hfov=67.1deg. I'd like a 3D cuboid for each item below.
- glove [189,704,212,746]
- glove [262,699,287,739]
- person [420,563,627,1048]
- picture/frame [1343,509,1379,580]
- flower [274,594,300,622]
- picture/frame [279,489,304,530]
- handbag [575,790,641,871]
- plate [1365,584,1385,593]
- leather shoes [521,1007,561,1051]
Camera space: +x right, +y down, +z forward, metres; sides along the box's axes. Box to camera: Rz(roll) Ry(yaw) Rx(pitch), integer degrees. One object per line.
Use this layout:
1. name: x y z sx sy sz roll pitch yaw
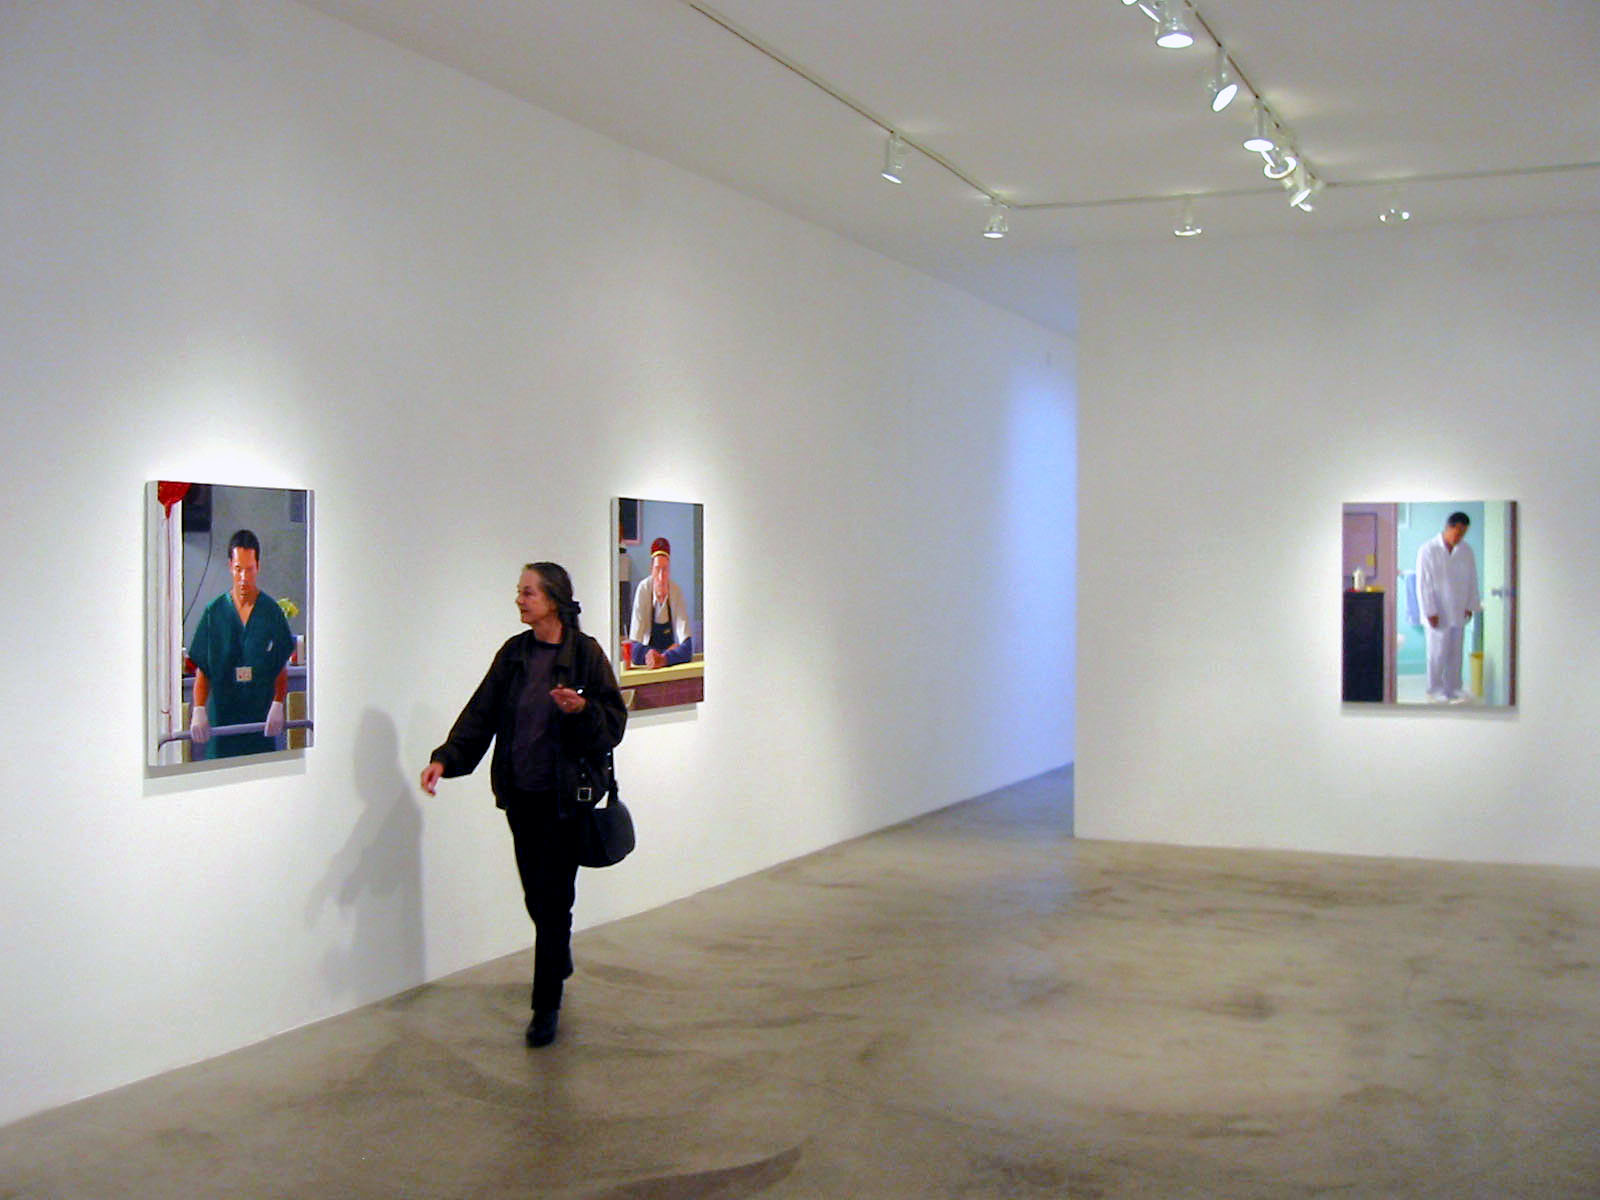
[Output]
1. glove: -2.658 0.548 5.368 0.043 0.145 0.099 -3 3 5
2. glove: -2.450 0.555 5.662 0.039 0.147 0.100 5 -5 17
3. person: -1.249 0.947 5.786 0.818 2.245 0.335 0 0 12
4. picture/frame: 4.295 -0.404 9.190 0.250 0.609 0.047 0 0 27
5. flower: -2.397 0.036 5.697 0.033 0.097 0.070 -6 3 19
6. picture/frame: -2.381 -0.442 5.745 0.103 0.230 0.146 0 1 22
7. handbag: -0.922 1.073 5.776 0.274 0.348 0.165 0 1 -22
8. plate: 4.374 -0.093 9.154 0.136 0.060 0.027 0 1 14
9. leather shoes: -1.200 2.016 5.669 0.077 0.115 0.230 1 -9 2
